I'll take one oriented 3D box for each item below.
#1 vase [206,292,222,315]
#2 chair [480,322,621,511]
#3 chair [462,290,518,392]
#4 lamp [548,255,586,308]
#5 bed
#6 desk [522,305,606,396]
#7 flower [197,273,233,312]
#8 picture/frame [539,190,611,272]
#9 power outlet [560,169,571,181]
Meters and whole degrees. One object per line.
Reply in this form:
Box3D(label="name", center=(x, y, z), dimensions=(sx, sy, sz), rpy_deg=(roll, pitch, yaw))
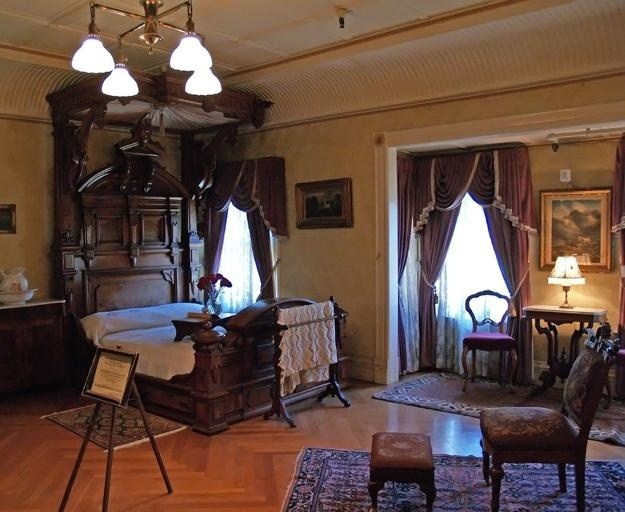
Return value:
Box3D(label="vase", center=(-1.098, 0.522, 5.817), dimensions=(0.136, 0.261, 0.467), rpy_deg=(-1, 5, -11))
Box3D(label="chair", center=(1.890, 1.056, 4.268), dimensions=(1.118, 1.820, 1.177), rpy_deg=(1, -4, 8))
Box3D(label="chair", center=(2.147, 0.984, 6.413), dimensions=(0.700, 1.207, 0.731), rpy_deg=(2, -3, -12))
Box3D(label="lamp", center=(3.003, 0.305, 6.198), dimensions=(0.362, 0.609, 0.518), rpy_deg=(2, 5, 28))
Box3D(label="bed", center=(-1.445, -0.047, 6.388), dimensions=(2.540, 3.625, 2.545), rpy_deg=(0, 3, 32))
Box3D(label="desk", center=(3.005, 1.108, 6.278), dimensions=(0.763, 1.086, 0.999), rpy_deg=(1, 5, 18))
Box3D(label="flower", center=(-1.057, 0.424, 5.854), dimensions=(0.297, 0.368, 0.260), rpy_deg=(-3, 0, 32))
Box3D(label="picture/frame", center=(3.200, -0.310, 6.307), dimensions=(0.931, 1.392, 0.105), rpy_deg=(0, 1, 39))
Box3D(label="power outlet", center=(3.061, -0.979, 6.337), dimensions=(0.118, 0.163, 0.136), rpy_deg=(2, 5, 25))
